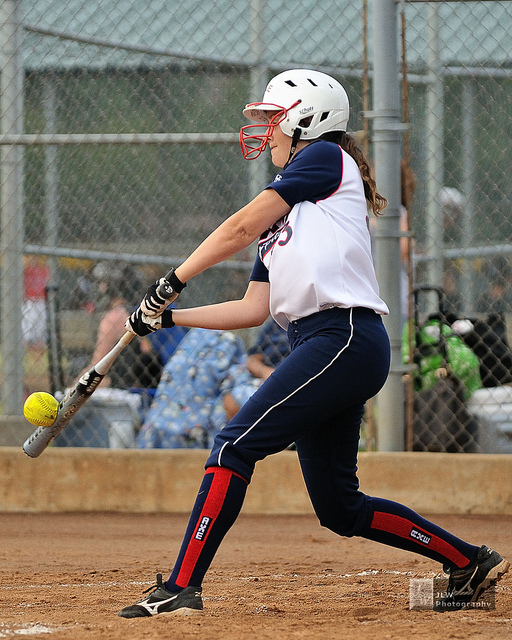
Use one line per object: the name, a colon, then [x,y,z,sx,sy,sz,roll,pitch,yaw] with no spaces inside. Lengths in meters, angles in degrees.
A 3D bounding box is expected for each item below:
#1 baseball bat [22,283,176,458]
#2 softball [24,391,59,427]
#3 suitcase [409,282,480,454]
baseball bat: [-0.836,0.255,5.716,0.124,1.207,0.116,50,-13,-30]
softball: [-0.797,0.329,4.196,0.131,0.120,0.127,8,-5,-4]
suitcase: [0.901,0.251,5.623,0.390,0.609,0.267,-14,22,-8]
